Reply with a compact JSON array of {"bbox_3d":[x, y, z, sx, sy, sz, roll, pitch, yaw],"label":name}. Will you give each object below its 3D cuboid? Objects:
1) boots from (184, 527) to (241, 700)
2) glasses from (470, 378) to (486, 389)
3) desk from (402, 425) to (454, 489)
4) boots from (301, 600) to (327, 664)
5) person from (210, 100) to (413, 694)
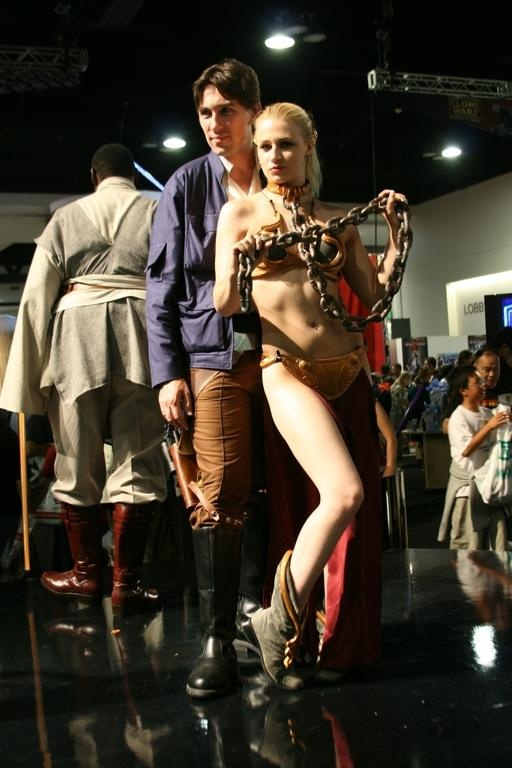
[{"bbox_3d":[-0.097,0.479,1.355,0.117,0.354,0.261,-3,-16,6],"label":"boots"},{"bbox_3d":[1.244,-0.014,3.455,0.058,0.019,0.056,11,-33,20],"label":"glasses"},{"bbox_3d":[1.287,0.481,4.399,0.397,0.292,0.356,-11,-4,5],"label":"desk"},{"bbox_3d":[0.144,0.579,1.450,0.060,0.083,0.091,-8,-1,21],"label":"boots"},{"bbox_3d":[0.135,0.006,1.303,0.417,1.239,0.491,-4,-7,-3],"label":"person"}]
